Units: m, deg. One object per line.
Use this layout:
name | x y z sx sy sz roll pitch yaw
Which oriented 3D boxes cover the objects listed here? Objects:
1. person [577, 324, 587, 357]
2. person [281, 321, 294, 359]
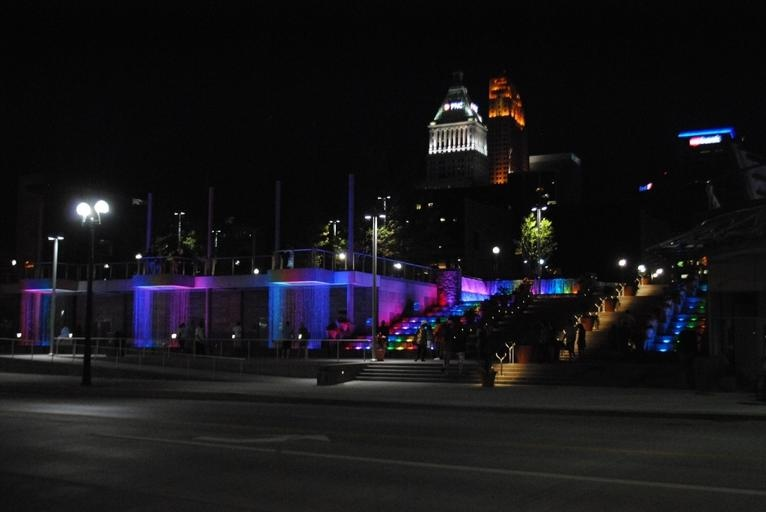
person | 10.142 4.216 37.853 0.332 1.601 1.014 -1 -8 18
person | -5.221 4.469 40.195 0.604 1.951 1.539 3 -8 -8
